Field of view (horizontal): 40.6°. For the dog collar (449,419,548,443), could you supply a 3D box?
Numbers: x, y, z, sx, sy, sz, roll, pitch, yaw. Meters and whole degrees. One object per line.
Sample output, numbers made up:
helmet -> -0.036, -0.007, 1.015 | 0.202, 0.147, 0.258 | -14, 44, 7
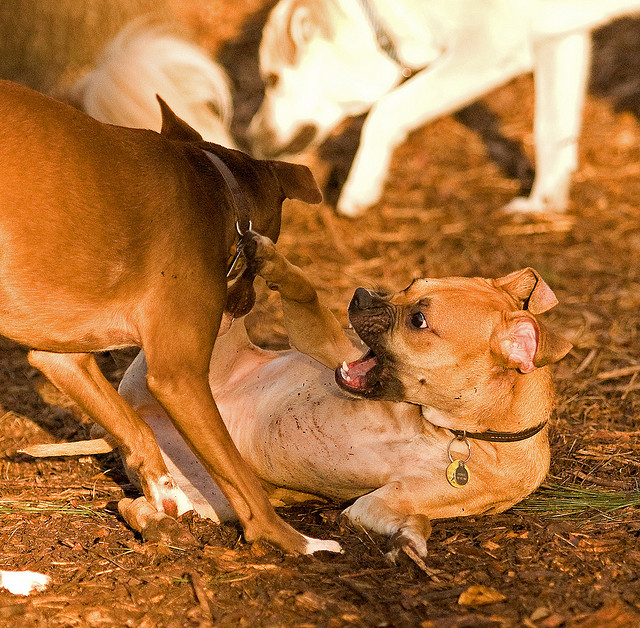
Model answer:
dog collar -> 0.884, 0.597, 4.302 | 0.442, 0.116, 0.085 | -10, 46, 5

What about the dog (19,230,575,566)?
dog -> -0.204, 0.416, 4.899 | 3.210, 1.123, 1.520 | -1, 8, 29
